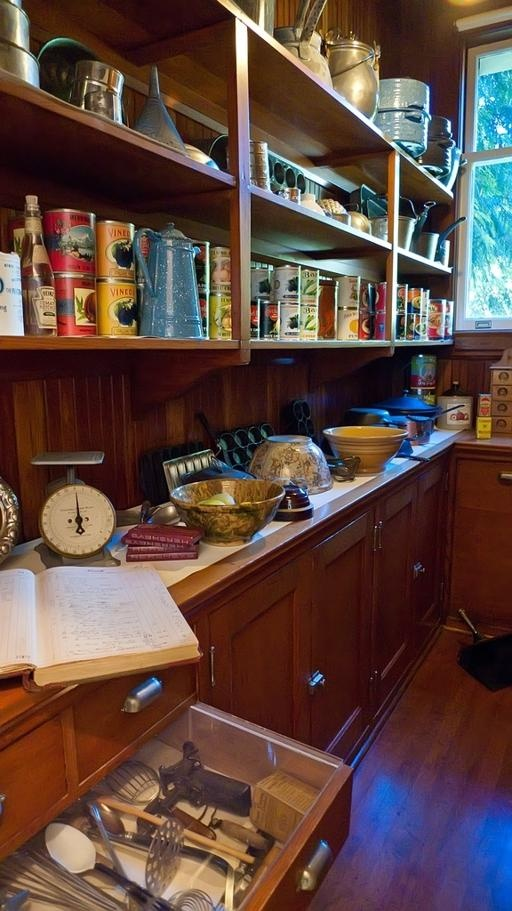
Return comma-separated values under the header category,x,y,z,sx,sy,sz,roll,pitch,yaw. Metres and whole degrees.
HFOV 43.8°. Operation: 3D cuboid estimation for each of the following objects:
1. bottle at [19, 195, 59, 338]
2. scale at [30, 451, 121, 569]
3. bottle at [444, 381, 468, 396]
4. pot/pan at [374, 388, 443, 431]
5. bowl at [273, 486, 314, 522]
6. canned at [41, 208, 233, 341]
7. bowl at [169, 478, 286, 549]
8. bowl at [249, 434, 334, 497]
category,x,y,z,sx,sy,sz,roll,pitch,yaw
bottle,-0.309,-0.264,0.890,0.044,0.188,0.044,-1,8,0
scale,-0.294,0.083,1.033,0.122,0.178,0.145,-4,9,-21
bottle,0.977,-0.311,3.126,0.091,0.078,0.098,-1,3,0
pot/pan,0.620,-0.192,2.530,0.183,0.100,0.171,8,16,33
bowl,0.085,0.098,1.408,0.069,0.055,0.072,-2,9,0
canned,-0.176,-0.288,1.025,0.134,0.182,0.256,11,18,37
bowl,-0.048,0.112,1.209,0.206,0.097,0.213,0,10,0
bowl,0.089,0.024,1.673,0.201,0.136,0.219,1,0,0
